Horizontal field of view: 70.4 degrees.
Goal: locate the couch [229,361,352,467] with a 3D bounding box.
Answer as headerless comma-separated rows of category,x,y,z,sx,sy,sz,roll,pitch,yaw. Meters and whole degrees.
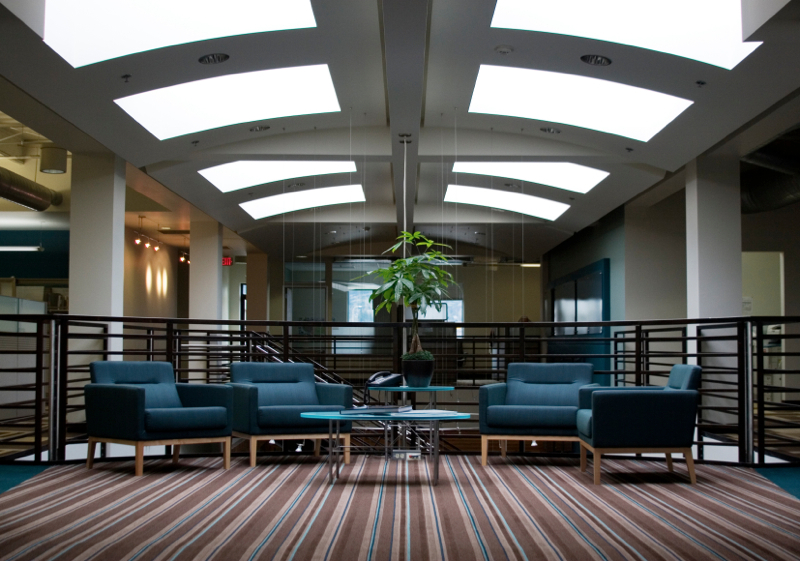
couch,-1.259,1.439,6.291,1.332,1.122,1.191,10,-16,-44

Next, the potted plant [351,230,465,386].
potted plant,0.109,0.358,6.362,0.965,1.647,0.820,-11,-14,25

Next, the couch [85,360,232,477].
couch,-2.511,1.354,5.870,1.351,1.085,1.379,-2,-10,6

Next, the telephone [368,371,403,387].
telephone,-0.167,1.052,6.096,0.369,0.129,0.489,-1,-7,5
